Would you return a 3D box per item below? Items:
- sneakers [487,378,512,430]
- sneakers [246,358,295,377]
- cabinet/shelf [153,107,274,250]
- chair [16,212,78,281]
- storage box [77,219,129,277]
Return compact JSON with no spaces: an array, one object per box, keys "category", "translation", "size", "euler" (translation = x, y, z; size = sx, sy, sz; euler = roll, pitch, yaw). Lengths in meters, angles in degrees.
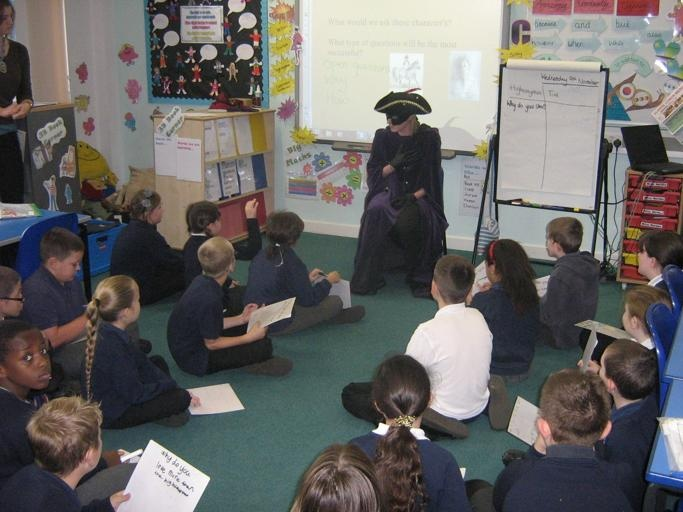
[{"category":"sneakers","translation":[0.905,0.836,3.173],"size":[0.111,0.096,0.316],"euler":[-5,44,8]},{"category":"sneakers","translation":[-0.458,0.708,3.552],"size":[0.207,0.089,0.131],"euler":[-3,0,7]},{"category":"cabinet/shelf","translation":[-1.229,-0.744,5.160],"size":[0.479,1.174,1.273],"euler":[6,14,20]},{"category":"chair","translation":[-1.748,-0.041,3.266],"size":[0.284,0.435,0.259],"euler":[17,16,6]},{"category":"storage box","translation":[-2.025,-0.078,4.696],"size":[0.442,0.459,0.594],"euler":[-3,10,-33]}]
